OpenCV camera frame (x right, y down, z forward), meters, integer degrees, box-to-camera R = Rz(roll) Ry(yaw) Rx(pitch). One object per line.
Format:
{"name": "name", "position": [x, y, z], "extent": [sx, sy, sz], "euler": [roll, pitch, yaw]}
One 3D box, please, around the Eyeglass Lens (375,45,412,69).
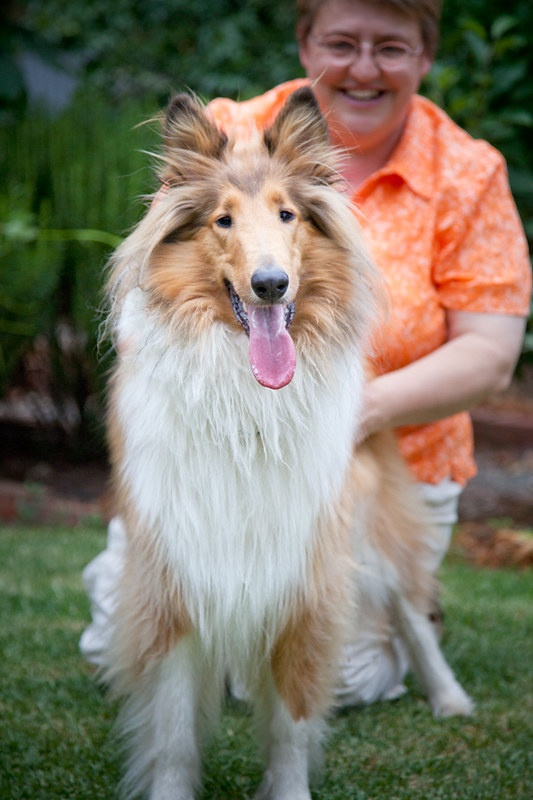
{"name": "Eyeglass Lens", "position": [0.449, -1.226, 2.936], "extent": [0.106, 0.089, 0.045], "euler": [-3, 3, 0]}
